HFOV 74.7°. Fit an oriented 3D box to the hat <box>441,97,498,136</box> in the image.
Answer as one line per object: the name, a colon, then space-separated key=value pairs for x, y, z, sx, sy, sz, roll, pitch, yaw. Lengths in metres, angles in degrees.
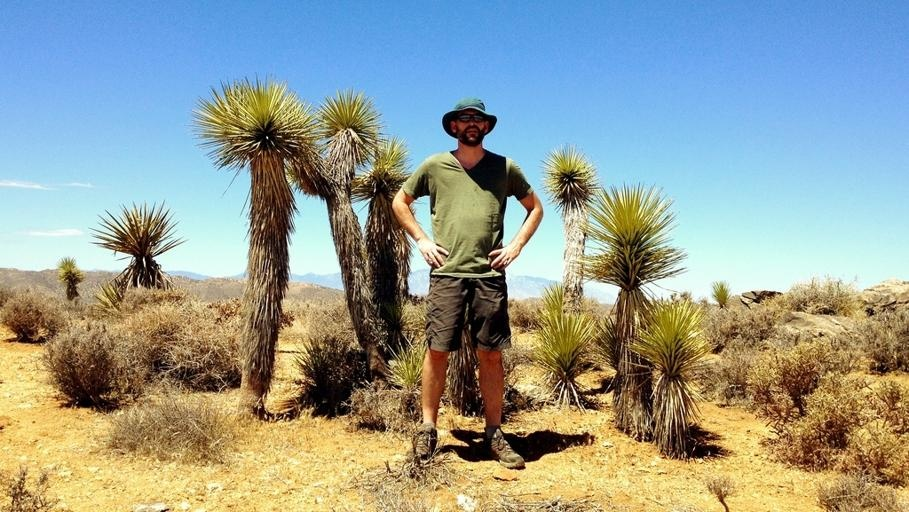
hat: x=0.279 y=-2.414 z=9.770 sx=0.775 sy=0.361 sz=0.834 roll=-9 pitch=7 yaw=-12
